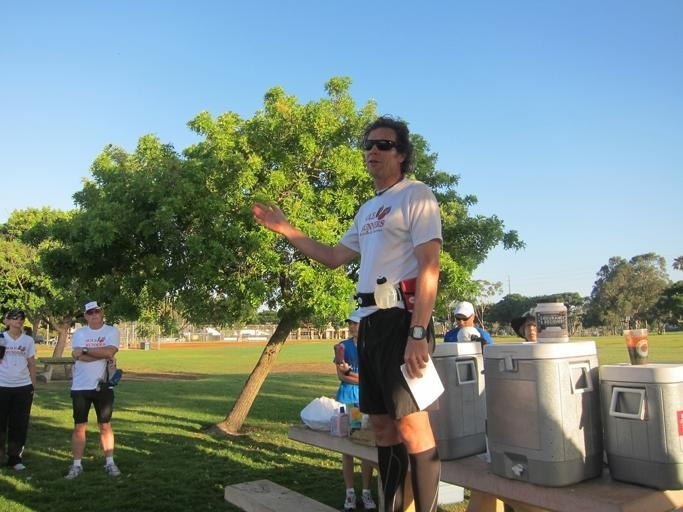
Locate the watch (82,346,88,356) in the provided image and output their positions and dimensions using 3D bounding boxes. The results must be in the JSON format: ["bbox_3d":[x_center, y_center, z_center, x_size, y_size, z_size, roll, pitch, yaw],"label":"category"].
[{"bbox_3d":[-4.240,1.565,8.705,0.082,0.098,0.032,4,0,-12],"label":"watch"}]

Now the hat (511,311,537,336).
[{"bbox_3d":[2.433,0.910,7.075,0.250,0.397,1.105,3,-1,21],"label":"hat"}]

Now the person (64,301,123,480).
[{"bbox_3d":[-4.128,2.207,8.843,0.802,2.877,0.717,3,0,-25],"label":"person"}]

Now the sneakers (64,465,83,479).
[{"bbox_3d":[-4.391,3.511,8.611,0.222,0.219,0.380,4,-1,-17],"label":"sneakers"}]

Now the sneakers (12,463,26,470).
[{"bbox_3d":[-5.527,3.603,9.034,0.107,0.078,0.191,0,-16,-43],"label":"sneakers"}]

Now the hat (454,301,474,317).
[{"bbox_3d":[2.013,0.830,8.378,0.298,0.229,0.497,4,-5,16],"label":"hat"}]

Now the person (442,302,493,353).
[{"bbox_3d":[1.979,1.127,8.357,0.747,0.757,0.524,-3,-2,21],"label":"person"}]
